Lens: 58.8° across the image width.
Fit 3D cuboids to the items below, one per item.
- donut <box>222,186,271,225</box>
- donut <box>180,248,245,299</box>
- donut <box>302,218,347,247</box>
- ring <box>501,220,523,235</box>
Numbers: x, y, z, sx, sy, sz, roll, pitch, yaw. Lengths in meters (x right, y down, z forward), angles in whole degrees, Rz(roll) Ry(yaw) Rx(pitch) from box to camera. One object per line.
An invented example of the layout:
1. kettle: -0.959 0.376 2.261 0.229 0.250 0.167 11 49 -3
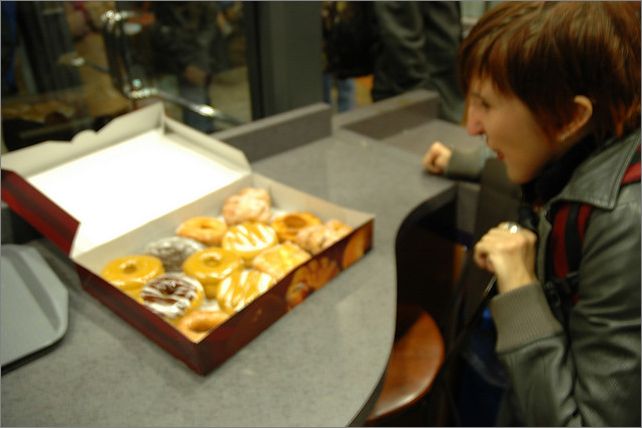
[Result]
1. donut: -0.234 -0.041 1.708 0.140 0.056 0.152 -24 6 -31
2. donut: -0.284 0.116 1.544 0.136 0.052 0.138 -23 49 -29
3. donut: 0.010 0.052 1.546 0.079 0.026 0.082 -8 25 -6
4. ring: 0.531 0.035 1.562 0.031 0.008 0.032 -3 30 2
